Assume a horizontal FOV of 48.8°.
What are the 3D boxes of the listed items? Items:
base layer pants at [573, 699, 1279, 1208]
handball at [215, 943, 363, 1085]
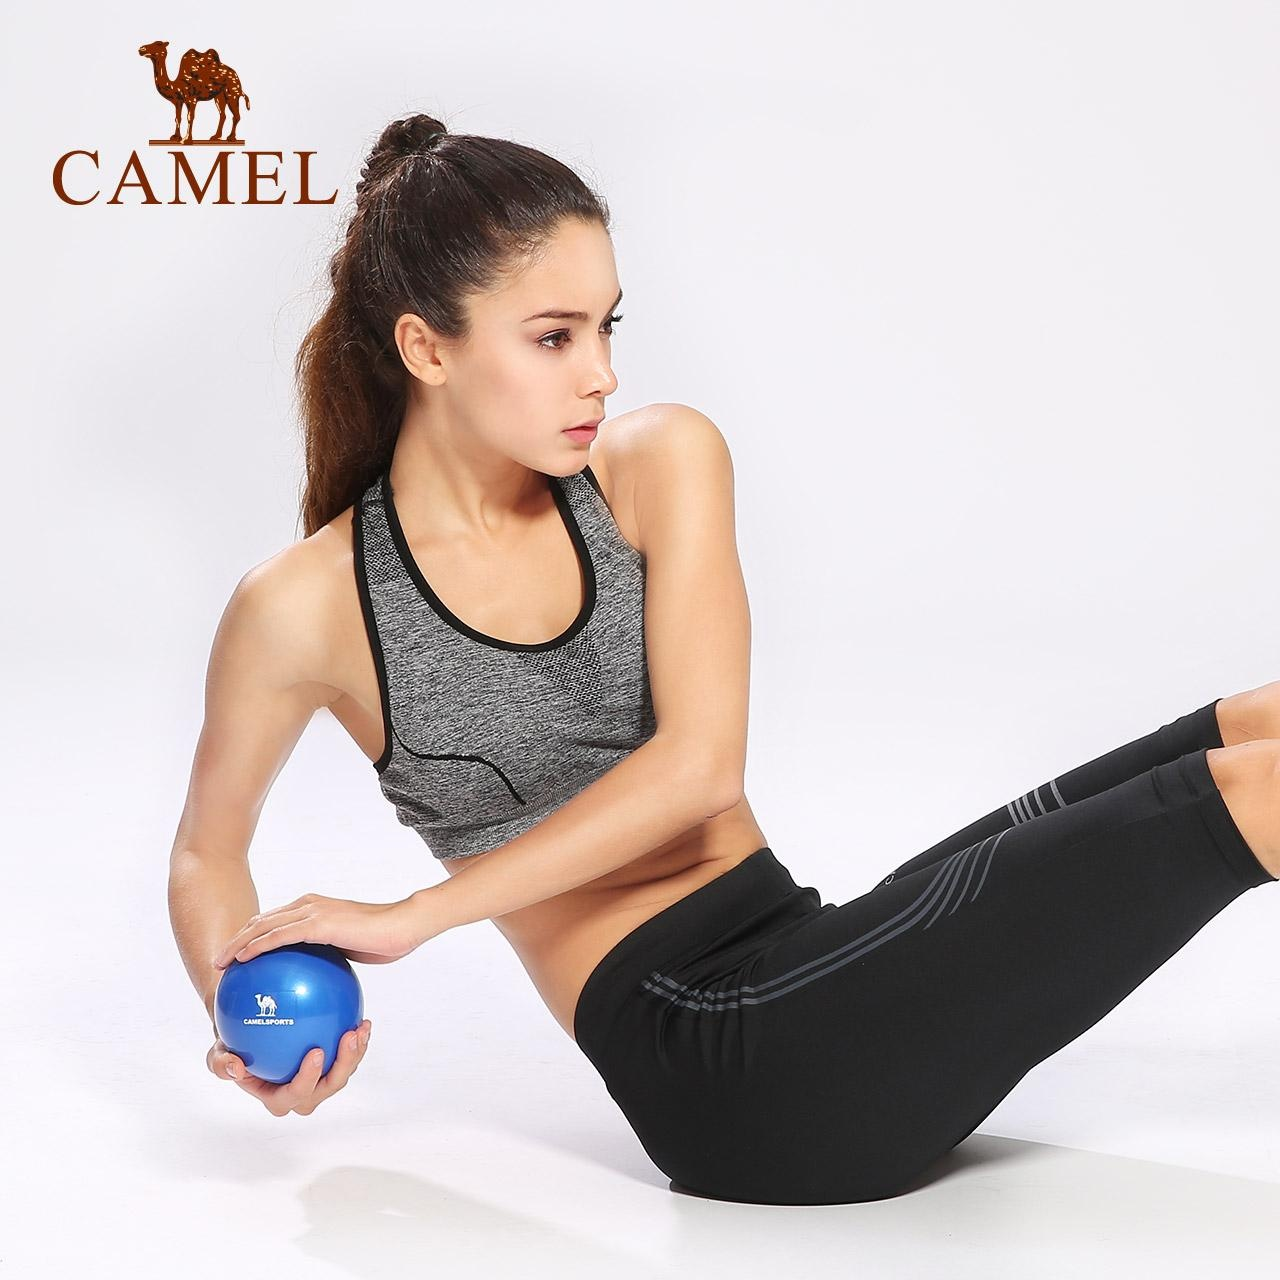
[{"bbox_3d":[0.370,0.483,1.941,0.984,0.555,0.319,-33,18,15],"label":"base layer pants"},{"bbox_3d":[-0.486,0.520,1.979,0.204,0.166,0.195,9,-9,-38],"label":"handball"}]
